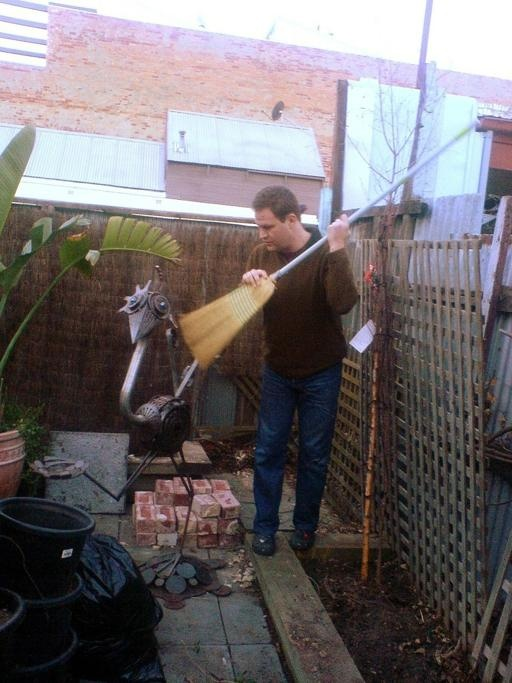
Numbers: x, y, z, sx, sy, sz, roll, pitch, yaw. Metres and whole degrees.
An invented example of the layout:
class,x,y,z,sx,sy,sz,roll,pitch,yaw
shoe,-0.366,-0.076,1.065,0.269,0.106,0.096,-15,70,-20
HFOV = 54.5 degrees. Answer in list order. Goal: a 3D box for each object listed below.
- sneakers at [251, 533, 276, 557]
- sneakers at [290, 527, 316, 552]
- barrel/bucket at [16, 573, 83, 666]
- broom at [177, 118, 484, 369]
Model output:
class,x,y,z,sx,sy,sz,roll,pitch,yaw
sneakers,0.043,1.188,2.913,0.106,0.086,0.194,2,-18,-1
sneakers,0.286,1.202,3.024,0.106,0.080,0.200,1,-16,3
barrel/bucket,-0.669,0.886,1.594,0.185,0.130,0.192,0,-5,0
broom,0.167,-0.351,2.542,1.033,0.974,0.596,8,15,14
